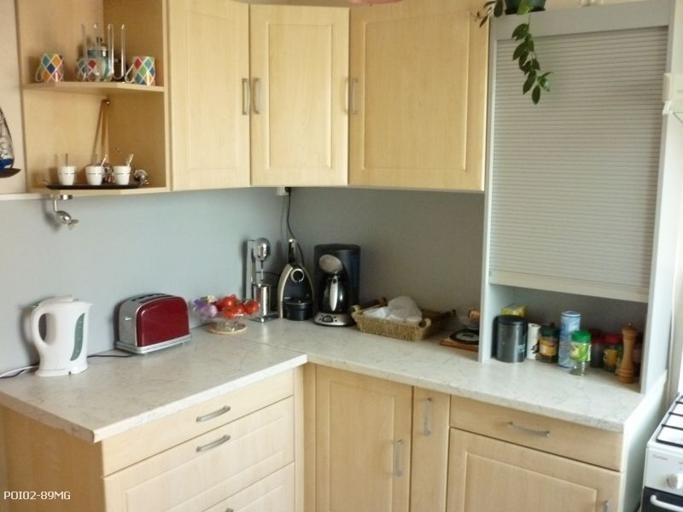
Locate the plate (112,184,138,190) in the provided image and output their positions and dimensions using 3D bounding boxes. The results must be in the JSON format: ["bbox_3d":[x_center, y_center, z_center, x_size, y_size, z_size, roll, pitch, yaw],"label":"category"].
[{"bbox_3d":[-0.829,-0.265,2.198,0.089,0.021,0.062,-5,8,-26],"label":"plate"}]

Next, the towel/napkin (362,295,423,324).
[{"bbox_3d":[0.275,0.269,2.775,0.164,0.054,0.160,-4,5,-44],"label":"towel/napkin"}]

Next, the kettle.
[{"bbox_3d":[-1.123,0.293,2.268,0.160,0.350,0.188,14,15,32],"label":"kettle"}]

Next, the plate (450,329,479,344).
[{"bbox_3d":[0.567,0.364,2.654,0.127,0.034,0.179,0,7,10],"label":"plate"}]

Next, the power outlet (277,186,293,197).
[{"bbox_3d":[-0.321,-0.354,3.180,0.046,0.065,0.067,5,7,40],"label":"power outlet"}]

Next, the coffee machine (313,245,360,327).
[{"bbox_3d":[-0.024,0.141,2.937,0.228,0.395,0.267,-1,8,3],"label":"coffee machine"}]
